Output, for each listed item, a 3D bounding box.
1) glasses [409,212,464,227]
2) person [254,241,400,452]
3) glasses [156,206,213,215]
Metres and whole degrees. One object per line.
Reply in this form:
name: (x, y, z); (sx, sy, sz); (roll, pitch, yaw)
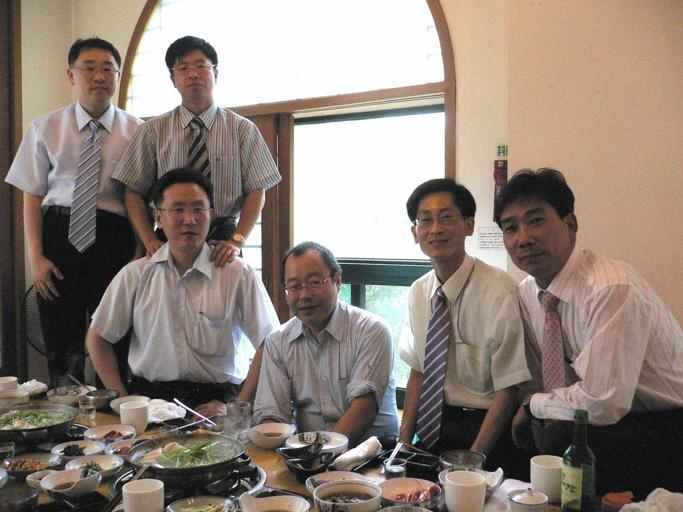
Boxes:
glasses: (0.451, -0.172, 2.903); (0.253, 0.064, 0.099); (0, 2, 32)
person: (-0.076, 0.414, 2.840); (0.673, 1.023, 0.915); (-8, -15, 17)
glasses: (-0.825, -0.233, 3.114); (0.263, 0.040, 0.110); (-1, 2, -9)
